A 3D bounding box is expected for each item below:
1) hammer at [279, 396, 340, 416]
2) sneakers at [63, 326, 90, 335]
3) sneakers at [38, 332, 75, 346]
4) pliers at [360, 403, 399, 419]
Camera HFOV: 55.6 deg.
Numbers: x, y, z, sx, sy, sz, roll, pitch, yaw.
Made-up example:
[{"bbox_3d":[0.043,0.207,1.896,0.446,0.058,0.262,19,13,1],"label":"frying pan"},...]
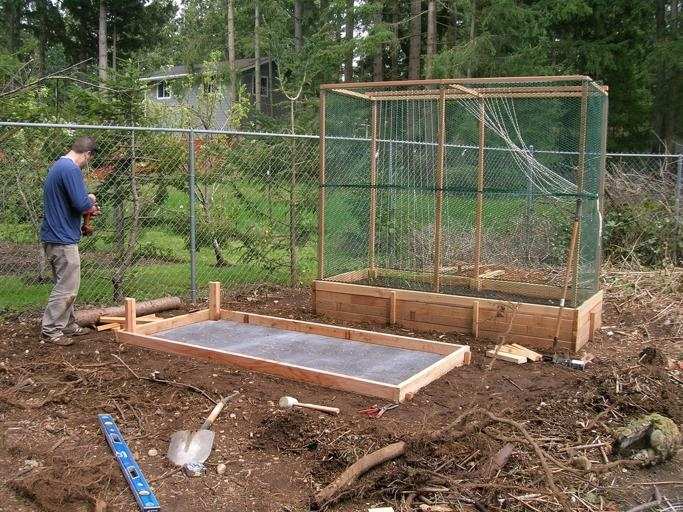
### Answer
[{"bbox_3d":[-0.215,1.448,6.250,0.786,0.151,0.187,5,-23,-6],"label":"hammer"},{"bbox_3d":[-3.346,0.925,8.183,0.268,0.096,0.104,-5,13,-22],"label":"sneakers"},{"bbox_3d":[-3.430,0.993,7.822,0.409,0.115,0.141,2,7,7],"label":"sneakers"},{"bbox_3d":[0.364,1.498,6.341,0.138,0.043,0.212,2,8,36],"label":"pliers"}]
